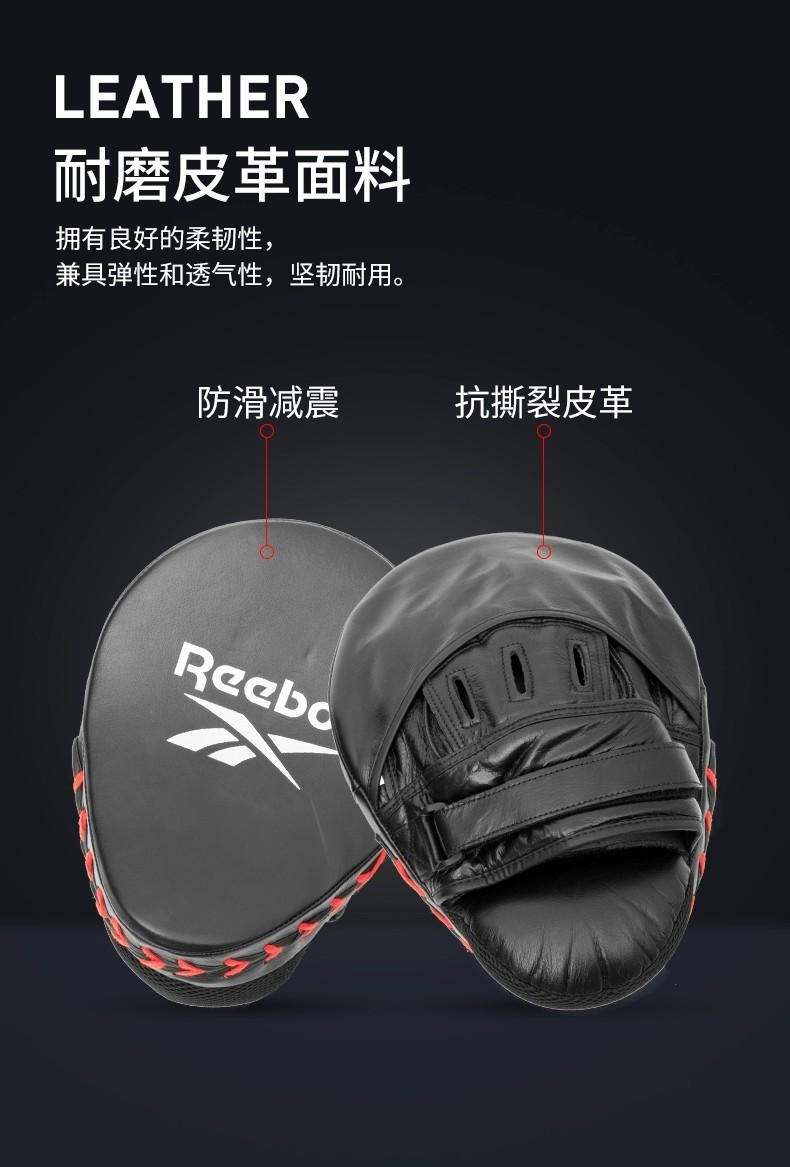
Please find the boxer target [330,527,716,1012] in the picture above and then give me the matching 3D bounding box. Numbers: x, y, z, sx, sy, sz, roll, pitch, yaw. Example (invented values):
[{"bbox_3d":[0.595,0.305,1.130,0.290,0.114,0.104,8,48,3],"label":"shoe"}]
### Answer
[{"bbox_3d":[0.273,0.282,2.091,0.728,0.308,1.046,-19,49,-2],"label":"boxer target"}]
